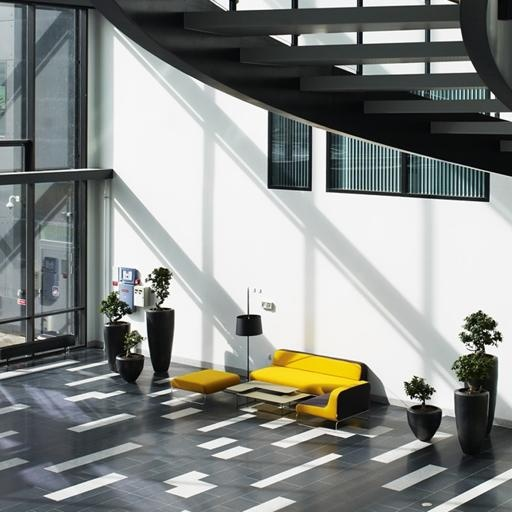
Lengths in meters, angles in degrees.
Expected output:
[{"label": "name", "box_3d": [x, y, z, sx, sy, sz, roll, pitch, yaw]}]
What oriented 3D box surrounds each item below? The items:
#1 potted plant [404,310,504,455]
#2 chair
[{"label": "potted plant", "box_3d": [2.649, 1.641, 8.807, 1.109, 1.772, 1.083, 2, 7, 30]}, {"label": "chair", "box_3d": [1.166, 2.121, 9.642, 0.715, 0.435, 0.773, 6, 8, 42]}]
